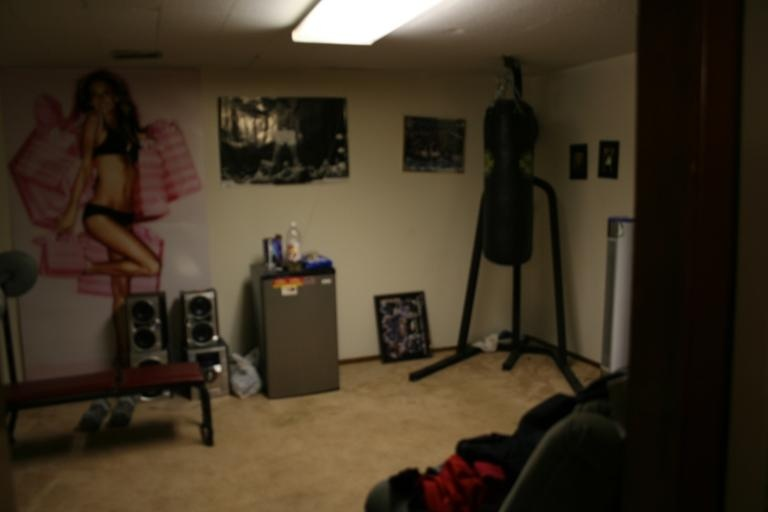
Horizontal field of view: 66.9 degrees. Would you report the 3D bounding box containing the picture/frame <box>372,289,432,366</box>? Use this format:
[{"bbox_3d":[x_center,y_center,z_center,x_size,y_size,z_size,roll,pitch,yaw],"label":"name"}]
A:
[{"bbox_3d":[0.116,0.586,4.777,0.568,0.698,0.052,-3,-5,-26],"label":"picture/frame"}]

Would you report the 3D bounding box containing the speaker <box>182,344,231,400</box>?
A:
[{"bbox_3d":[-1.198,0.751,4.076,0.303,0.404,0.396,-3,-3,-4],"label":"speaker"}]

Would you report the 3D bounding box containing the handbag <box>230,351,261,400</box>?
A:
[{"bbox_3d":[-0.994,0.831,4.141,0.235,0.272,0.100,4,-35,-37],"label":"handbag"}]
